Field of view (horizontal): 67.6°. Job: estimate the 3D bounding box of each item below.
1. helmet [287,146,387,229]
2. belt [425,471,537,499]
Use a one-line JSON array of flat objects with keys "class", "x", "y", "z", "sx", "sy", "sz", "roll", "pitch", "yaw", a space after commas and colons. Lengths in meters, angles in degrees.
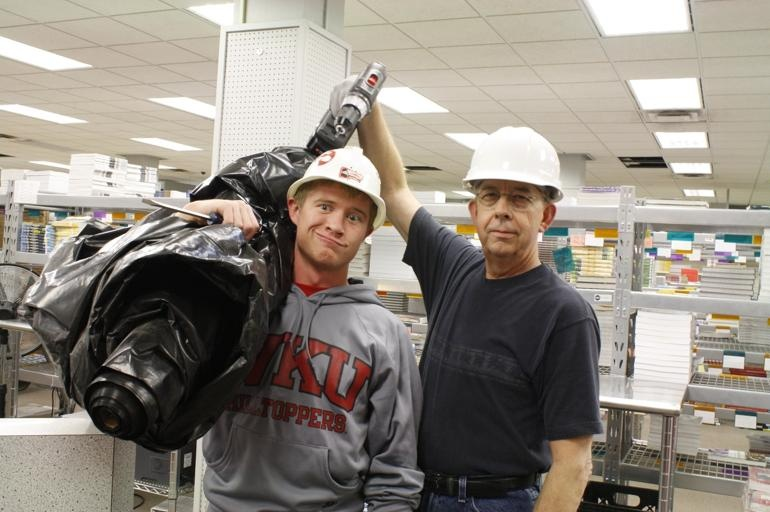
[{"class": "helmet", "x": -0.171, "y": -0.275, "z": 2.295, "sx": 0.278, "sy": 0.313, "sz": 0.300, "roll": 4, "pitch": 9, "yaw": 2}, {"class": "belt", "x": 0.372, "y": 0.919, "z": 2.305, "sx": 0.199, "sy": 0.049, "sz": 0.180, "roll": 1, "pitch": -7, "yaw": -2}]
